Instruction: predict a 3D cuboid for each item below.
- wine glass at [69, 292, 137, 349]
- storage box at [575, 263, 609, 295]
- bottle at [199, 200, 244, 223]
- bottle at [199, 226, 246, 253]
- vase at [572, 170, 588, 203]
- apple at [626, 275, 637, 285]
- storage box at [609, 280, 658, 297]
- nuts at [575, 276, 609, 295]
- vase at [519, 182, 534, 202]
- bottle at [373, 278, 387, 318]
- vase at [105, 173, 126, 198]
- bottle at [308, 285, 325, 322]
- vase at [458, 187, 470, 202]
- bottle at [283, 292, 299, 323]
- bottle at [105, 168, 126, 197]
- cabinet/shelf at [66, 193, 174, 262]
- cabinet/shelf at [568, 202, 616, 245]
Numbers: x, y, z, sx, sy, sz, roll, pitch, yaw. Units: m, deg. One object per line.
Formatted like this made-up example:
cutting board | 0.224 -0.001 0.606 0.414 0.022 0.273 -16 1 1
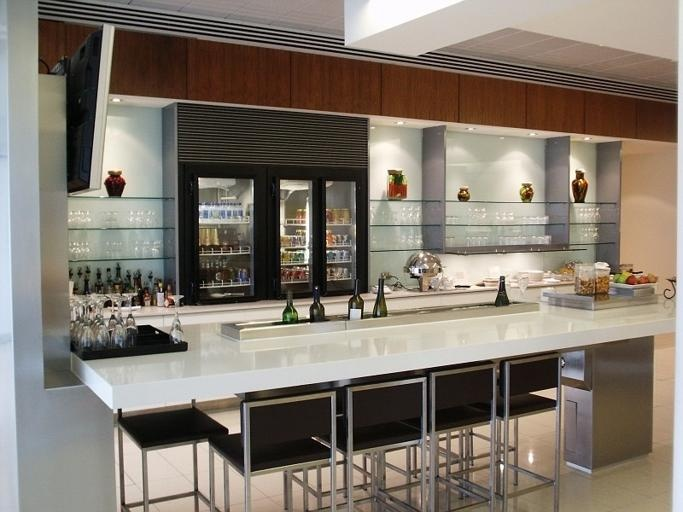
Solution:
wine glass | -1.338 0.371 3.298 0.372 0.382 0.374 2 3 30
storage box | 2.029 0.195 4.658 0.230 0.246 0.132 0 0 -12
bottle | -1.186 -0.436 5.721 0.446 0.196 0.077 -7 6 -39
bottle | -1.201 -0.164 5.707 0.407 0.237 0.198 1 0 -32
vase | 3.274 -0.955 7.923 0.197 0.451 0.239 -1 5 23
apple | 2.361 0.196 4.686 0.066 0.070 0.067 -3 2 11
storage box | 2.379 0.275 4.705 0.342 0.108 0.235 -1 5 27
nuts | 2.036 0.248 4.651 0.249 0.189 0.144 0 -1 -10
vase | 2.443 -0.856 7.724 0.222 0.284 0.234 1 0 7
bottle | 0.259 0.268 3.987 0.107 0.279 0.389 -3 5 4
vase | -2.145 -0.680 5.575 0.207 0.266 0.215 0 5 6
bottle | -0.165 0.304 3.778 0.101 0.233 0.235 -4 4 -3
vase | 1.532 -0.756 7.214 0.168 0.187 0.167 2 0 -14
bottle | -0.333 0.317 3.671 0.103 0.219 0.247 -4 4 -5
bottle | -2.144 -0.691 5.450 0.217 0.284 0.226 -1 -1 0
cabinet/shelf | -2.145 -0.262 5.539 0.891 0.669 0.195 -6 5 -28
cabinet/shelf | 3.514 -0.465 8.102 0.574 0.542 0.189 0 0 -24
